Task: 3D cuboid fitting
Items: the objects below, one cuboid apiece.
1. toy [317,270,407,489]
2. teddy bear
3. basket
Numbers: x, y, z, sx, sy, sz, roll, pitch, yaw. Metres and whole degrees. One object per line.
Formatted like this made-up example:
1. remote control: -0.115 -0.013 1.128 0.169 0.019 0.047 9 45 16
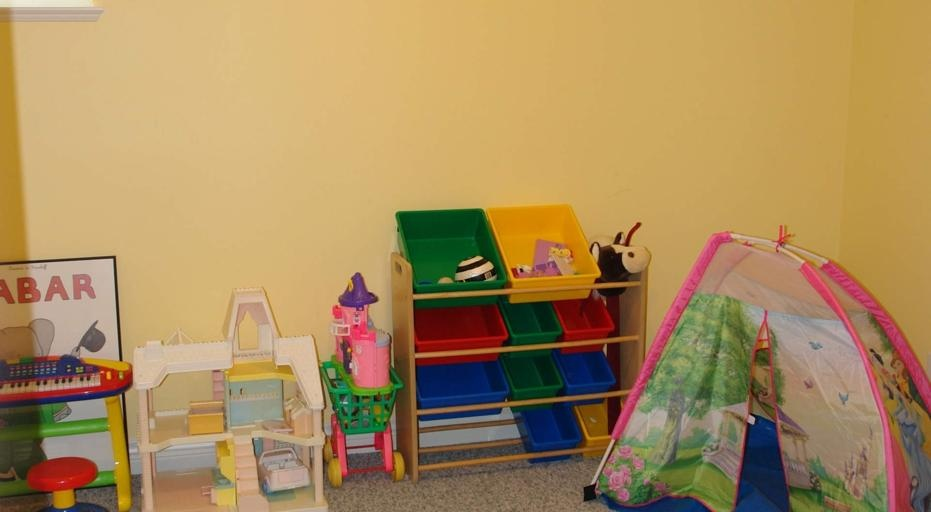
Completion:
1. toy: -0.618 0.706 4.087 0.462 1.240 0.436 -3 4 -12
2. teddy bear: 0.966 -0.018 4.148 0.474 0.385 0.286 8 27 6
3. basket: -0.599 0.825 4.016 0.394 0.255 0.486 -2 17 -13
